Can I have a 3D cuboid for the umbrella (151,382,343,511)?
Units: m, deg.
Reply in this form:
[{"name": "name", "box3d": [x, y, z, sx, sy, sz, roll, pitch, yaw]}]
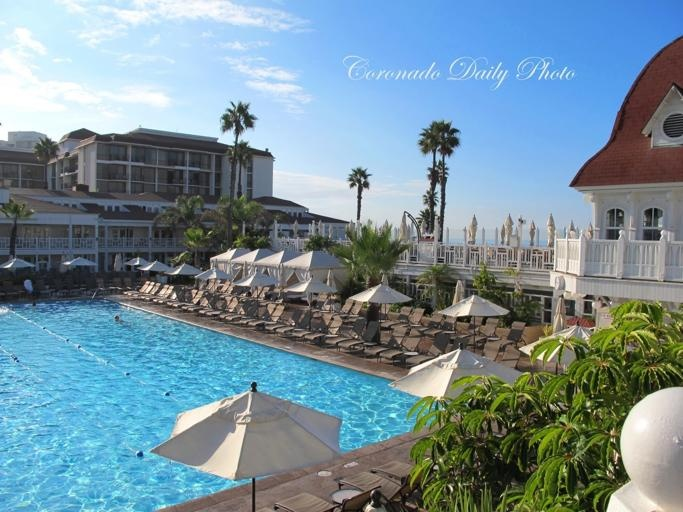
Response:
[{"name": "umbrella", "box3d": [-1.288, 2.321, 6.605, 1.959, 1.685, 1.943, -4, 10, -39]}]
